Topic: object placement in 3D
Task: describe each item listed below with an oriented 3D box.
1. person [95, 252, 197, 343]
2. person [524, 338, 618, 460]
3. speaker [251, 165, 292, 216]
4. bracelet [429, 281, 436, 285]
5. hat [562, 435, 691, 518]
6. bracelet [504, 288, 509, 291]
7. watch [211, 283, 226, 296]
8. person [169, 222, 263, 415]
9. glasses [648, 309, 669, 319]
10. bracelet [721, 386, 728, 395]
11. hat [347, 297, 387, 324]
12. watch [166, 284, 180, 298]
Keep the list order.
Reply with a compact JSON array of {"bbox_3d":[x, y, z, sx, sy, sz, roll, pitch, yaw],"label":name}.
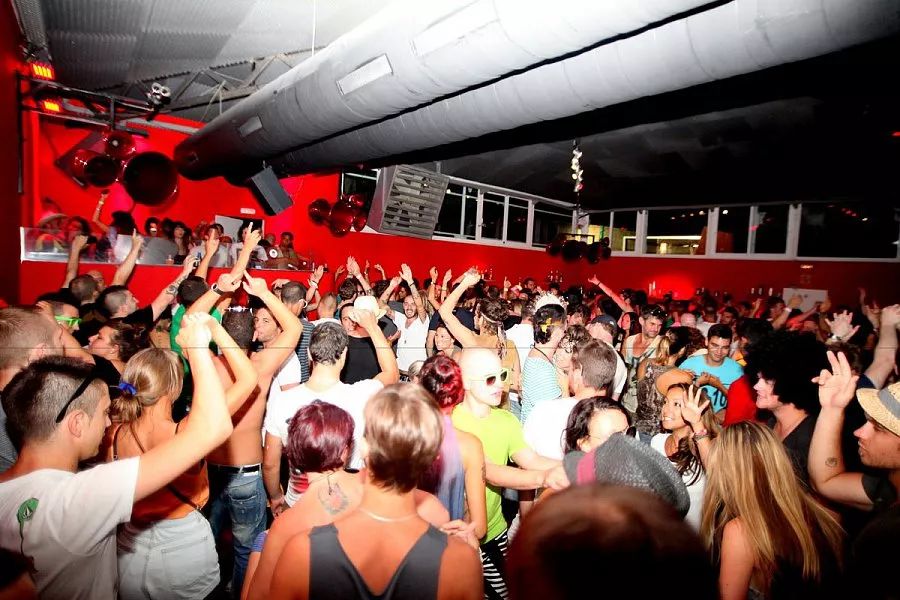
[{"bbox_3d":[-2.481,-0.019,4.132,0.347,0.314,0.964,22,24,11],"label":"person"},{"bbox_3d":[0.870,0.632,3.262,0.756,0.760,0.366,3,18,-12],"label":"person"},{"bbox_3d":[-2.239,-1.339,6.219,0.359,0.558,0.476,-4,-12,45],"label":"speaker"},{"bbox_3d":[-0.204,-0.165,5.602,0.040,0.042,0.043,0,-31,28],"label":"bracelet"},{"bbox_3d":[0.776,0.699,2.346,0.376,0.244,0.492,25,-9,-26],"label":"hat"},{"bbox_3d":[0.899,-0.139,8.254,0.071,0.037,0.096,2,12,-26],"label":"bracelet"},{"bbox_3d":[-1.525,-0.053,3.311,0.084,0.033,0.071,28,-25,37],"label":"watch"},{"bbox_3d":[-1.926,0.273,3.924,0.404,1.130,0.364,-7,30,-30],"label":"person"},{"bbox_3d":[1.841,0.130,4.536,0.104,0.029,0.106,9,21,28],"label":"glasses"},{"bbox_3d":[2.167,0.722,4.018,0.016,0.052,0.049,45,12,-37],"label":"bracelet"},{"bbox_3d":[-0.577,0.040,3.479,0.205,0.086,0.229,17,-16,-4],"label":"hat"},{"bbox_3d":[-2.166,-0.066,3.956,0.020,0.084,0.086,42,8,37],"label":"watch"}]
